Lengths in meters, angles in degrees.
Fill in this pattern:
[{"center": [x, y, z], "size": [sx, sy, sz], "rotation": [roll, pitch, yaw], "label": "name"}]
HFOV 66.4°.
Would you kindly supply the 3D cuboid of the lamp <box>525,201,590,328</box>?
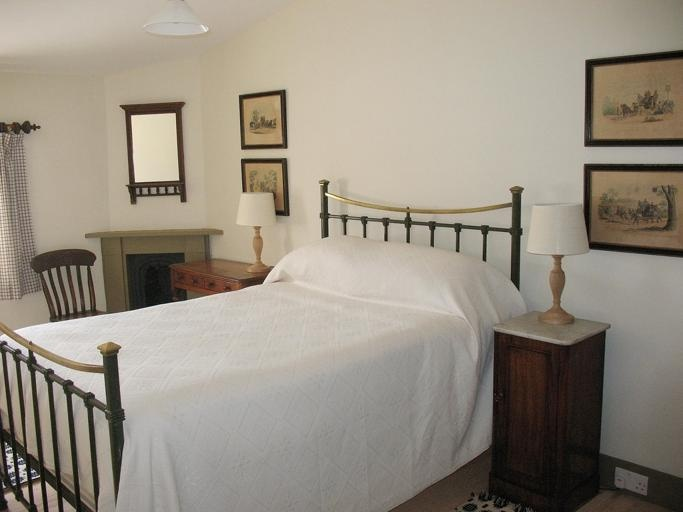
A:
[{"center": [1.160, 0.033, 2.842], "size": [0.324, 0.638, 0.271], "rotation": [-3, 14, -6], "label": "lamp"}]
